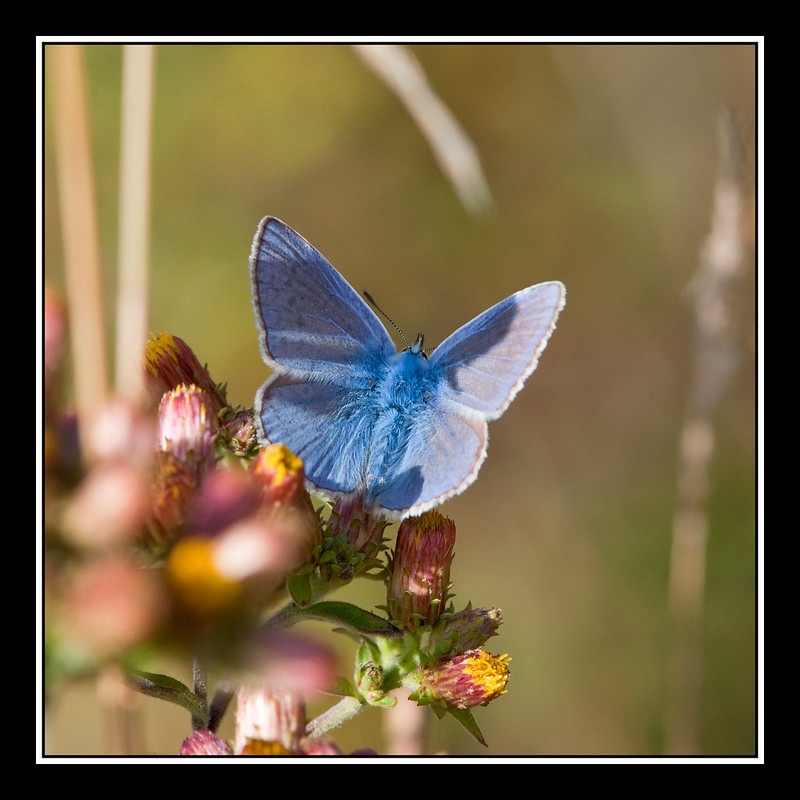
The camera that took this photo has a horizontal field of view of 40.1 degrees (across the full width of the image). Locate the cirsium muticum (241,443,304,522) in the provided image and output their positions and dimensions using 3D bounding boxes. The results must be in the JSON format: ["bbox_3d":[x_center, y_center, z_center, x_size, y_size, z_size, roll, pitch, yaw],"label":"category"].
[{"bbox_3d":[-0.305,0.204,2.712,0.141,0.160,0.102,13,-40,-10],"label":"cirsium muticum"}]

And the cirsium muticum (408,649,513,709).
[{"bbox_3d":[0.170,0.730,2.848,0.211,0.179,0.095,-11,-14,-6],"label":"cirsium muticum"}]

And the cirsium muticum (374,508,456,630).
[{"bbox_3d":[0.055,0.477,2.996,0.179,0.349,0.164,5,-38,-1],"label":"cirsium muticum"}]

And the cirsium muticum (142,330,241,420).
[{"bbox_3d":[-0.655,-0.074,3.181,0.189,0.094,0.334,-40,-16,-9],"label":"cirsium muticum"}]
